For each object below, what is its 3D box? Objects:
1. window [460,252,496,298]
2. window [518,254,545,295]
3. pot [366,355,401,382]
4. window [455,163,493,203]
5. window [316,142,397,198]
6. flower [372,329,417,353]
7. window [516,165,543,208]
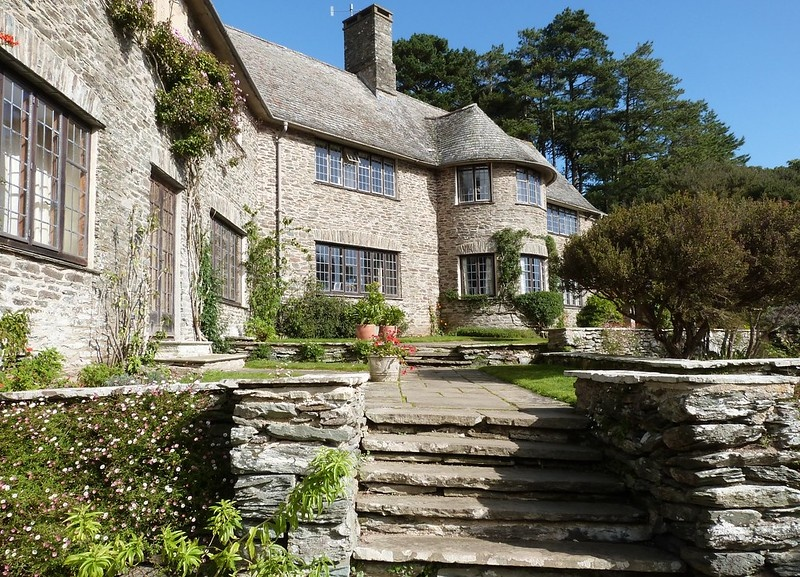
[{"bbox_3d":[2.569,-0.393,21.531,1.439,1.754,0.120,-1,-7,10],"label":"window"},{"bbox_3d":[4.294,-0.458,21.974,0.135,1.296,1.315,-3,-5,39],"label":"window"},{"bbox_3d":[-0.281,1.465,12.045,0.494,0.344,0.483,-1,-10,0],"label":"pot"},{"bbox_3d":[2.466,-3.431,21.769,1.279,1.386,0.094,-1,-8,11],"label":"window"},{"bbox_3d":[-1.377,-3.565,19.959,1.964,0.884,0.196,7,-15,-39],"label":"window"},{"bbox_3d":[-0.031,1.048,12.244,0.771,0.393,0.625,14,-6,-23],"label":"flower"},{"bbox_3d":[4.282,-3.413,22.264,0.102,0.972,1.377,-8,-12,39],"label":"window"}]
